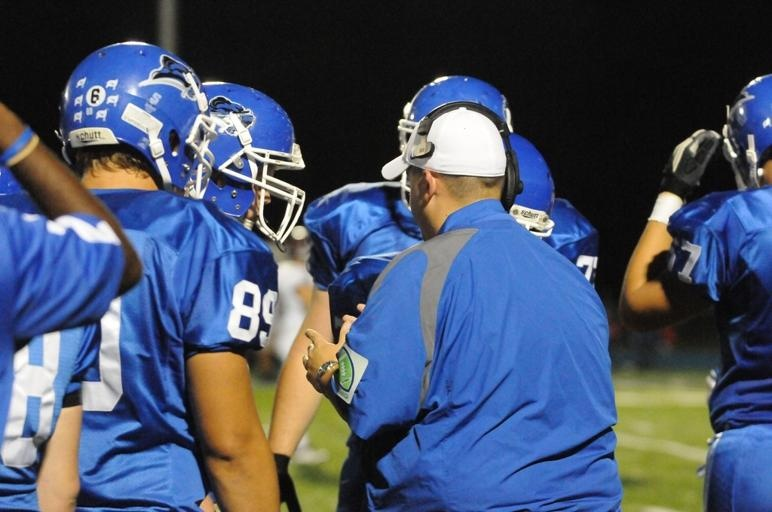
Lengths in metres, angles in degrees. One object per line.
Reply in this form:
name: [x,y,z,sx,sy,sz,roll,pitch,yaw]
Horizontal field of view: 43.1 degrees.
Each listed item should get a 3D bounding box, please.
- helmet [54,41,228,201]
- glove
helmet: [-0.864,-0.488,3.486,0.455,0.480,0.594,2,-2,25]
glove: [1.229,-0.399,4.141,0.234,0.217,0.558,-17,9,28]
